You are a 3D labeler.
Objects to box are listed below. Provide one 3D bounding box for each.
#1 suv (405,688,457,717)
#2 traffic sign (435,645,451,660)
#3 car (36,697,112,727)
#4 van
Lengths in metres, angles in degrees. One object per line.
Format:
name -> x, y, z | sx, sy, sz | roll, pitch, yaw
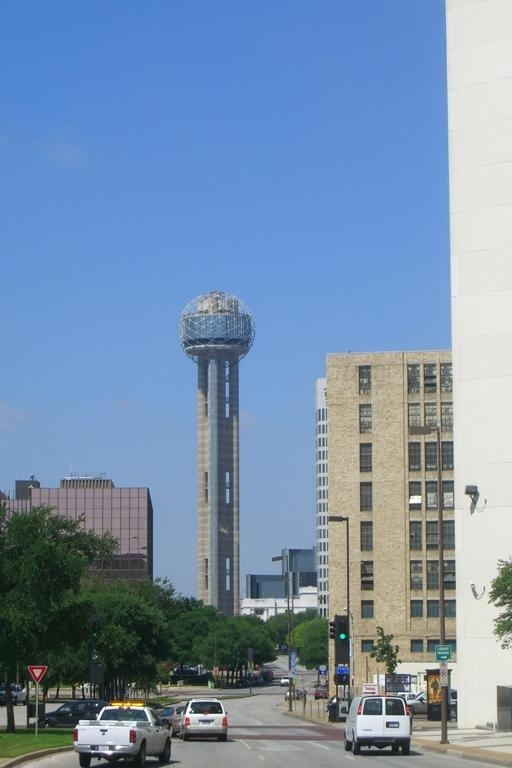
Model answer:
suv -> 9.065, 15.867, 93.699 | 2.274, 1.529, 1.507 | 4, -9, 6
traffic sign -> 7.101, 10.024, 68.997 | 0.515, 0.696, 1.466 | -2, -14, 5
car -> -8.229, 14.802, 80.792 | 3.458, 1.927, 1.913 | 2, -8, -7
van -> 4.307, 12.099, 65.433 | 2.349, 2.202, 5.560 | -2, -15, 3
